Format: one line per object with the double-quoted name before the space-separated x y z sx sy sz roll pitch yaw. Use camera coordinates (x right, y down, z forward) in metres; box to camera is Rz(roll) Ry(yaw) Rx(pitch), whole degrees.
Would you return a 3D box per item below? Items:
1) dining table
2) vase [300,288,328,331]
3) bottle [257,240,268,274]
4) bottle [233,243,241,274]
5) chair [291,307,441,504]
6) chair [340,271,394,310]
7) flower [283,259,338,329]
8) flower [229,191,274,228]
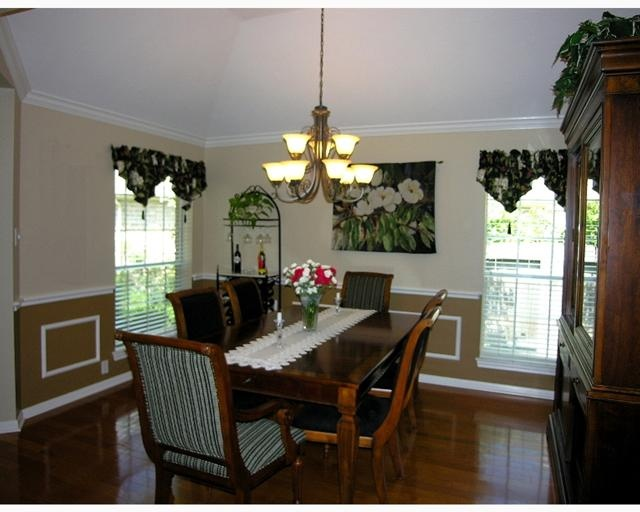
"dining table" -0.070 0.646 2.945 0.844 0.544 1.289 0 5 24
"vase" -0.069 0.382 3.454 0.245 0.337 0.258 2 3 13
"bottle" -0.652 0.013 5.374 0.111 0.365 0.426 -2 3 -7
"bottle" -0.955 0.030 5.511 0.106 0.330 0.297 -2 3 -10
"chair" 0.394 1.043 3.405 1.021 1.426 0.909 5 9 40
"chair" 0.474 0.344 4.641 0.328 0.604 0.414 3 -9 17
"flower" -0.071 0.307 3.453 0.391 0.508 0.375 2 4 31
"flower" -0.777 -0.551 5.430 0.507 0.440 0.350 -1 3 4
